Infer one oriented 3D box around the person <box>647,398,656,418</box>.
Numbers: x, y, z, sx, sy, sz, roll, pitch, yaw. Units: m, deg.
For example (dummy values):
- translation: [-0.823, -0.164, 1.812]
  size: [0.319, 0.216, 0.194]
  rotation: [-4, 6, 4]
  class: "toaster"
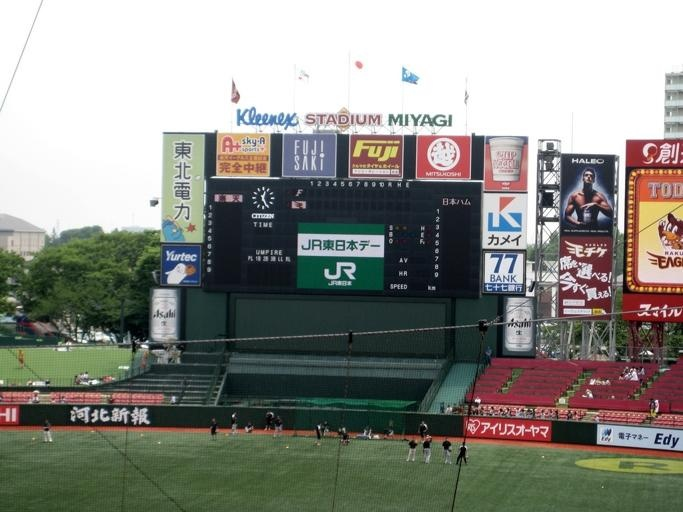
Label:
- translation: [20.072, 9.704, 87.051]
  size: [0.435, 1.058, 1.018]
  rotation: [2, -7, 12]
  class: "person"
